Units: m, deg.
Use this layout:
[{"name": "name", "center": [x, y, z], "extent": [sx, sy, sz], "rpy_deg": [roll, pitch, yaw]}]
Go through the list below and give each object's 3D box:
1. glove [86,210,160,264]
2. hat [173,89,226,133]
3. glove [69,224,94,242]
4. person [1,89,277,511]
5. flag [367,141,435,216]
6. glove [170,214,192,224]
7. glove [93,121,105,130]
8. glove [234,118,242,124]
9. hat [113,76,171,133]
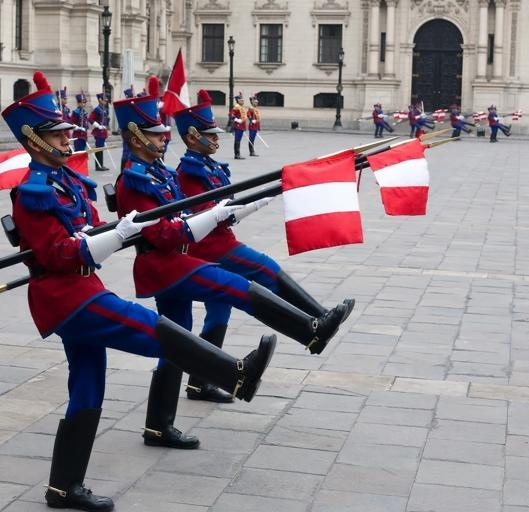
[{"name": "glove", "center": [-0.702, -0.094, 3.850], "extent": [0.170, 0.232, 0.423], "rpy_deg": [10, 15, 31]}, {"name": "hat", "center": [-0.437, -0.937, 5.242], "extent": [0.423, 0.227, 0.216], "rpy_deg": [1, 24, 6]}, {"name": "glove", "center": [-0.893, -0.117, 3.935], "extent": [0.080, 0.031, 0.094], "rpy_deg": [29, 52, 16]}, {"name": "person", "center": [-0.789, 0.190, 3.954], "extent": [1.287, 2.026, 0.879], "rpy_deg": [15, 21, 42]}, {"name": "flag", "center": [0.826, -0.473, 4.977], "extent": [0.393, 0.497, 0.393], "rpy_deg": [0, 15, -4]}, {"name": "glove", "center": [-0.464, -0.206, 4.417], "extent": [0.104, 0.020, 0.083], "rpy_deg": [-6, 5, -1]}, {"name": "glove", "center": [-4.434, -3.497, 21.374], "extent": [0.280, 0.078, 0.189], "rpy_deg": [19, -2, -21]}, {"name": "glove", "center": [-0.909, -4.457, 26.272], "extent": [0.334, 0.108, 0.355], "rpy_deg": [2, 13, -2]}, {"name": "hat", "center": [-0.722, -0.870, 4.592], "extent": [0.428, 0.252, 0.234], "rpy_deg": [-1, 22, -11]}]
